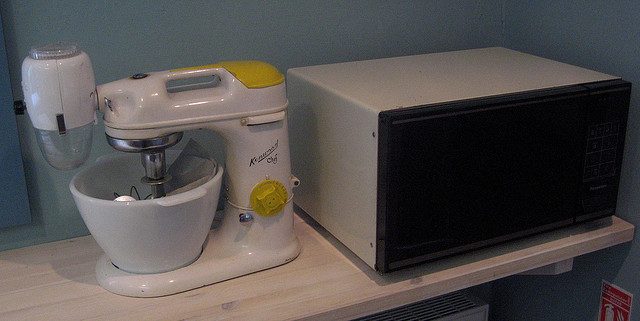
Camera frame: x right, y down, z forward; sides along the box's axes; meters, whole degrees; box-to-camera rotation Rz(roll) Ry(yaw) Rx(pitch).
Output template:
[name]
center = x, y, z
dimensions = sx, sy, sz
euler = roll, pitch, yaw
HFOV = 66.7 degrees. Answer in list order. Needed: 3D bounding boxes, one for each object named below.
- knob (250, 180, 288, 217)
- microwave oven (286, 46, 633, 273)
[knob]
center = -0.169, 0.125, 1.620
dimensions = 0.137, 0.115, 0.037
euler = -25, 20, -8
[microwave oven]
center = 0.394, -0.085, 1.786
dimensions = 1.218, 0.524, 0.818
euler = -10, 22, -24
